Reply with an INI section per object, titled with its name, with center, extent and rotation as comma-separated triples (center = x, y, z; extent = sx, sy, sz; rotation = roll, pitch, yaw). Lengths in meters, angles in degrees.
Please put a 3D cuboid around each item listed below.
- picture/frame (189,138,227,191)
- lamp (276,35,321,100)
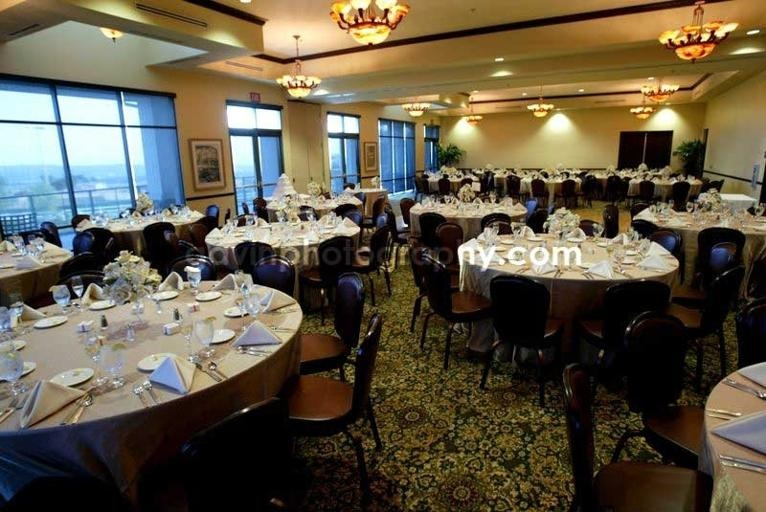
[picture/frame]
center = -3.851, -1.996, 10.994
extent = 0.087, 1.209, 1.075
rotation = 5, 12, 26
[lamp]
center = -1.842, -3.968, 10.958
extent = 0.795, 1.089, 2.148
rotation = -4, 12, -8
